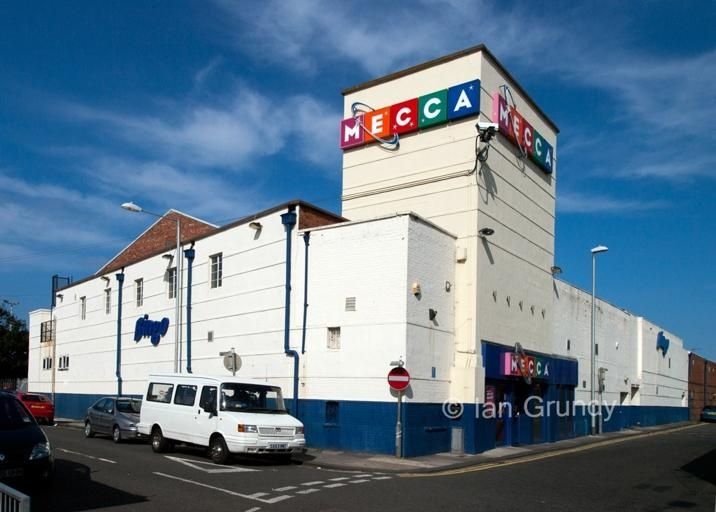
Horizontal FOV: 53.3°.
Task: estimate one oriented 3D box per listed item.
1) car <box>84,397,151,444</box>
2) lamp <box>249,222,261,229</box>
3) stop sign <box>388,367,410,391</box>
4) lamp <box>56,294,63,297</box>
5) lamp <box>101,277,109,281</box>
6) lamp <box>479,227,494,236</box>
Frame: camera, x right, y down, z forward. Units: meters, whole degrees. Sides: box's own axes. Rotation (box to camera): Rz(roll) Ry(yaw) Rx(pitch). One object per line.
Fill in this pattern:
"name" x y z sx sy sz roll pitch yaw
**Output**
"car" -10.011 6.810 29.729 1.805 1.510 2.977 10 -16 -41
"lamp" -4.596 -1.340 31.893 0.629 0.310 0.268 0 -3 29
"stop sign" 1.527 4.588 26.636 0.832 0.936 0.149 -2 -6 24
"lamp" -20.143 2.712 47.937 0.113 0.251 0.877 4 -4 -37
"lamp" -15.185 1.409 42.664 0.231 0.371 1.093 4 -3 -34
"lamp" 5.635 -1.054 30.789 0.451 0.438 1.183 1 -4 26
